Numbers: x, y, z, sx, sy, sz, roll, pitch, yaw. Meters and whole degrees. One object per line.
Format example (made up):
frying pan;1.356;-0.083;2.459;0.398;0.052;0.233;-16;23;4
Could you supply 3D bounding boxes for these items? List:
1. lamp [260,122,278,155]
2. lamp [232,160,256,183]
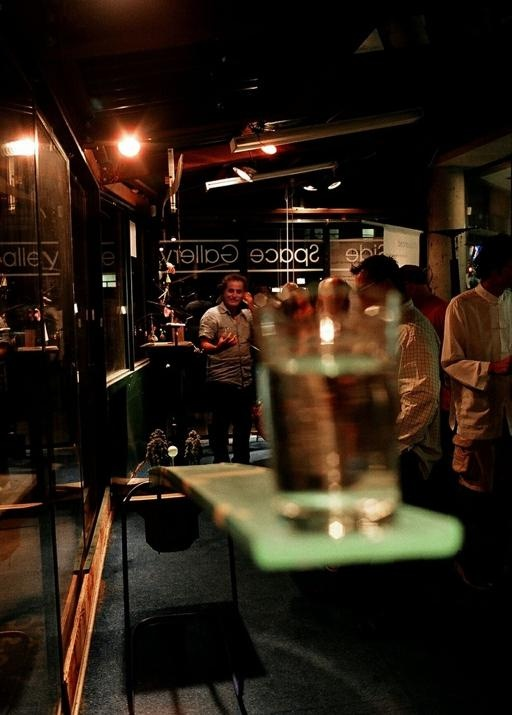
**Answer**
lamp;0.106;-1.766;4.605;0.200;0.257;0.072;-2;7;4
lamp;-0.097;-1.767;5.331;0.219;0.206;0.428;-2;1;-2
